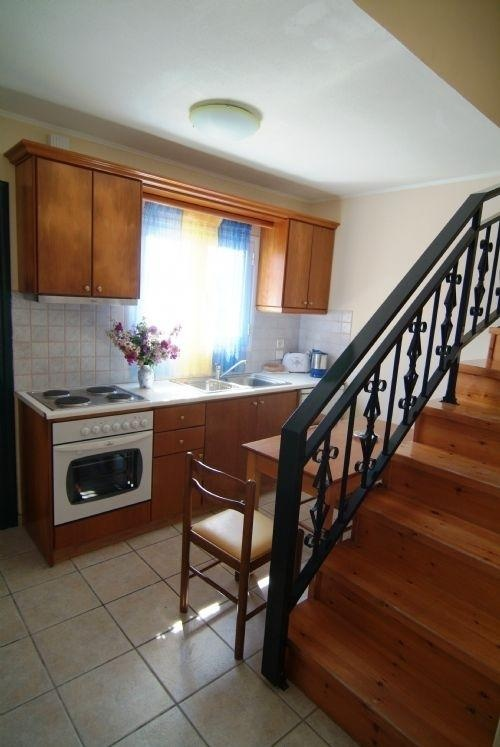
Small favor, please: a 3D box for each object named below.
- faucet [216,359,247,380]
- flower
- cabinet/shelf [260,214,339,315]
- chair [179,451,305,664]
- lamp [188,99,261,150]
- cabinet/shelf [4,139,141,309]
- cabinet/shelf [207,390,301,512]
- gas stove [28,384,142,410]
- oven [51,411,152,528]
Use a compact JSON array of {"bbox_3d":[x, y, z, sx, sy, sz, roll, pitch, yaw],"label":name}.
[{"bbox_3d":[-0.155,-0.032,4.148,0.156,0.145,0.432,4,11,12],"label":"faucet"},{"bbox_3d":[-0.678,-0.176,3.325,0.476,0.328,0.446,-3,11,-27],"label":"flower"},{"bbox_3d":[0.369,-0.846,4.165,0.615,0.737,0.419,2,10,0],"label":"cabinet/shelf"},{"bbox_3d":[-0.042,0.727,2.309,0.515,0.775,0.520,-1,15,-15],"label":"chair"},{"bbox_3d":[-0.114,-1.208,2.498,0.361,0.102,0.301,1,10,-10],"label":"lamp"},{"bbox_3d":[-0.964,-0.782,2.761,0.330,0.846,0.794,13,15,41],"label":"cabinet/shelf"},{"bbox_3d":[-0.021,0.410,2.841,0.685,0.637,0.265,-10,13,-43],"label":"cabinet/shelf"},{"bbox_3d":[-0.918,0.124,2.971,0.596,0.050,0.523,-6,14,-39],"label":"gas stove"},{"bbox_3d":[-0.841,0.453,2.904,0.521,0.574,0.381,-6,13,-34],"label":"oven"}]
